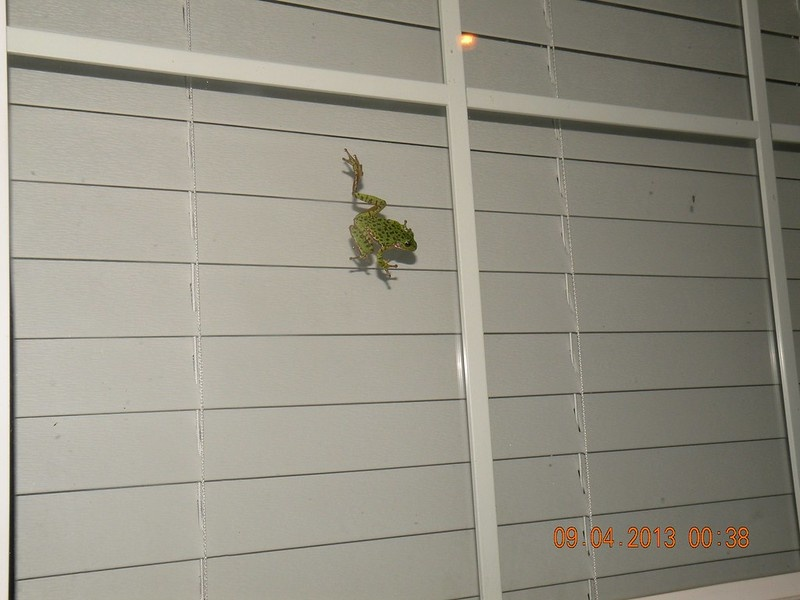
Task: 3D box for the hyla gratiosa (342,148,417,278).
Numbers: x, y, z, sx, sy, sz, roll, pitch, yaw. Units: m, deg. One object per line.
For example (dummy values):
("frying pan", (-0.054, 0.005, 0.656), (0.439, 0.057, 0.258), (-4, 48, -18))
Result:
("hyla gratiosa", (-0.065, -0.301, 2.361), (0.279, 0.451, 0.117), (2, -4, -4))
